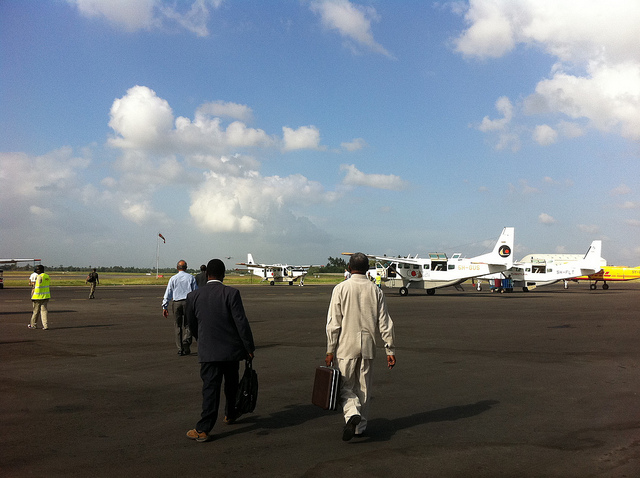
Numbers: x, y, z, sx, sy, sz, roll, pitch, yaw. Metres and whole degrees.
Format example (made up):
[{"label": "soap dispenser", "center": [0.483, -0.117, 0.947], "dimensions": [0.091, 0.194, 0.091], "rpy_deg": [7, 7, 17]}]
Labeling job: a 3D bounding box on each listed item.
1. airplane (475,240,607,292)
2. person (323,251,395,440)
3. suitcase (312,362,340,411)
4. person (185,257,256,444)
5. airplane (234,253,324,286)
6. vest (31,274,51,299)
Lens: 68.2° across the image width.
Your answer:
[{"label": "airplane", "center": [20.344, 2.922, 43.333], "dimensions": [5.798, 2.232, 7.495], "rpy_deg": [1, -3, 6]}, {"label": "person", "center": [0.548, 1.399, 6.600], "dimensions": [0.935, 2.440, 1.066], "rpy_deg": [-1, -3, 1]}, {"label": "suitcase", "center": [0.060, 1.933, 6.369], "dimensions": [0.377, 0.506, 0.170], "rpy_deg": [-3, -4, 34]}, {"label": "person", "center": [-1.408, 1.446, 6.725], "dimensions": [0.976, 2.356, 0.788], "rpy_deg": [1, -4, -21]}, {"label": "airplane", "center": [-5.436, 3.400, 56.093], "dimensions": [6.928, 2.423, 8.099], "rpy_deg": [5, 7, -3]}, {"label": "vest", "center": [-8.751, 1.390, 14.812], "dimensions": [0.444, 0.745, 0.362], "rpy_deg": [1, -4, -25]}]
